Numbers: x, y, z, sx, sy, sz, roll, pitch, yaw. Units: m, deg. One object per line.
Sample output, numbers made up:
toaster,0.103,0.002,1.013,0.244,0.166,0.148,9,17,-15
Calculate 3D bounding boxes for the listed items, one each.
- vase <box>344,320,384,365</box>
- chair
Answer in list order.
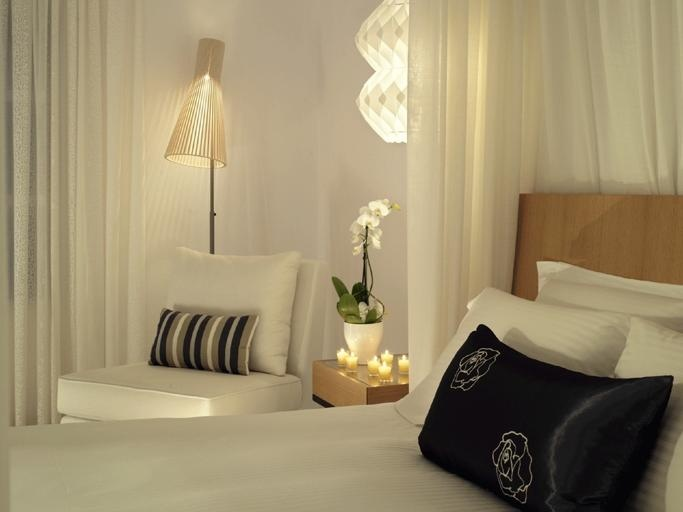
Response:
vase,0.110,0.443,2.858,0.169,0.206,0.195,0,-5,-6
chair,-0.618,0.377,2.718,0.682,0.616,0.744,-3,-6,37
